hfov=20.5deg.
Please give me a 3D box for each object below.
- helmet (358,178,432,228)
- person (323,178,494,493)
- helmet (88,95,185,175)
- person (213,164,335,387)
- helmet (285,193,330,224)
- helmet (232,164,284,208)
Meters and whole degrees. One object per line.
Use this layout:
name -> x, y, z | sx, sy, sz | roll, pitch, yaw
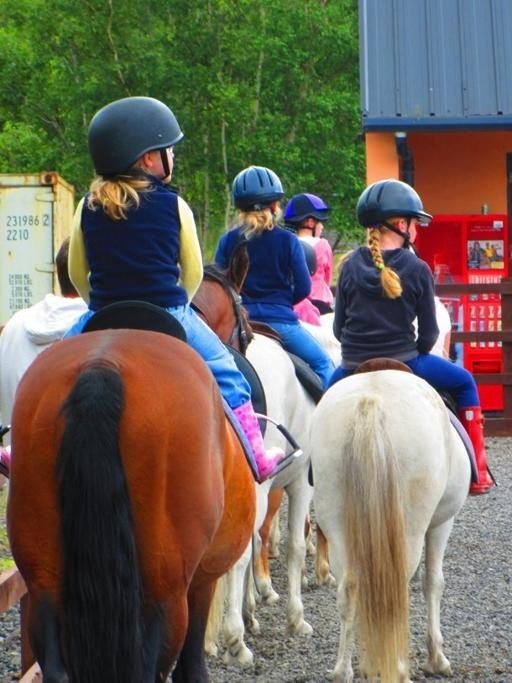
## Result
helmet -> 0.869, -0.882, 8.865 | 0.467, 0.320, 0.363 | -1, 2, -35
person -> 0.985, -0.082, 9.065 | 0.889, 2.039, 1.100 | -4, 5, -12
helmet -> -0.621, -1.051, 7.389 | 0.420, 0.417, 0.347 | 0, 1, -30
person -> 0.107, -0.323, 9.901 | 0.587, 1.805, 0.808 | 1, 1, 34
helmet -> 0.417, -1.108, 11.820 | 0.273, 0.220, 0.241 | -6, 6, -8
helmet -> 0.004, -1.004, 9.590 | 0.343, 0.416, 0.321 | -10, 1, 2
